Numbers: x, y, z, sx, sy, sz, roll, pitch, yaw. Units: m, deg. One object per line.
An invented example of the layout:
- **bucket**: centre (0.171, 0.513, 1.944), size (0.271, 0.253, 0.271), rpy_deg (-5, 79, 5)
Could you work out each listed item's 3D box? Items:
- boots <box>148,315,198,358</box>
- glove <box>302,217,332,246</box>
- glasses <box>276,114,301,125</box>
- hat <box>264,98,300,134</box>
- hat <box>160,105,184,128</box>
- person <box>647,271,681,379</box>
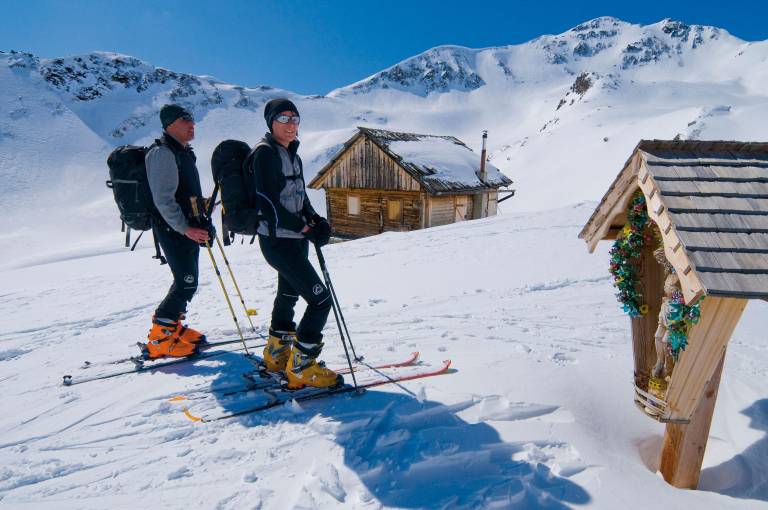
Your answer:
- **boots**: centre (-3.361, 1.271, 9.941), size (0.837, 0.769, 0.505), rpy_deg (1, 24, -20)
- **glove**: centre (-0.921, -0.332, 8.853), size (0.182, 0.398, 0.416), rpy_deg (-9, 1, 12)
- **glasses**: centre (-1.314, -1.887, 8.789), size (0.376, 0.164, 0.135), rpy_deg (-16, 15, -36)
- **hat**: centre (-1.390, -1.987, 8.937), size (0.505, 0.449, 0.418), rpy_deg (2, 8, 4)
- **hat**: centre (-3.186, -2.109, 9.544), size (0.400, 0.338, 0.222), rpy_deg (-11, 13, -16)
- **person**: centre (3.536, 0.916, 7.951), size (0.374, 1.400, 0.542), rpy_deg (-9, 13, -7)
